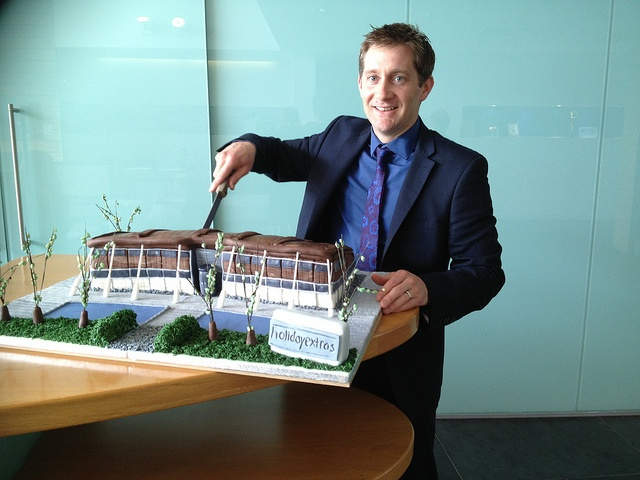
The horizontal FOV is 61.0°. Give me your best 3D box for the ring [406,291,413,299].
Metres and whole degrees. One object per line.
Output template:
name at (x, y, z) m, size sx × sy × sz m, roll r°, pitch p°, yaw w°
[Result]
ring at (0.372, 0.227, 2.255) m, size 0.007 × 0.026 × 0.026 m, roll -23°, pitch 7°, yaw -16°
